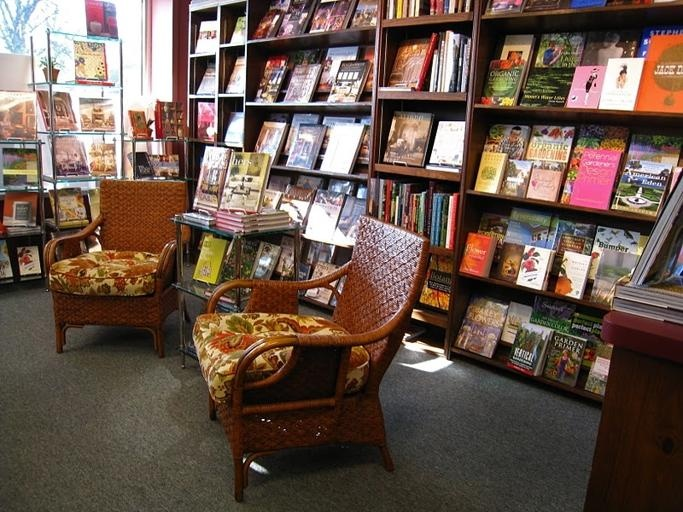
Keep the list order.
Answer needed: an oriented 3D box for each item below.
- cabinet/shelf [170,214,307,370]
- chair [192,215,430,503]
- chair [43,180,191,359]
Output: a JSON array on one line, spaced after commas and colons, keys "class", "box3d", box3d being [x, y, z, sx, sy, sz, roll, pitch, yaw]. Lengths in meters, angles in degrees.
[{"class": "cabinet/shelf", "box3d": [-0.615, 0.196, 2.803, 0.553, 1.084, 0.768, -11, 19, -39]}, {"class": "chair", "box3d": [-0.263, 0.299, 2.590, 1.233, 1.362, 1.065, -3, 18, -22]}, {"class": "chair", "box3d": [-1.531, 0.055, 3.302, 0.839, 1.124, 0.761, 4, 17, -13]}]
